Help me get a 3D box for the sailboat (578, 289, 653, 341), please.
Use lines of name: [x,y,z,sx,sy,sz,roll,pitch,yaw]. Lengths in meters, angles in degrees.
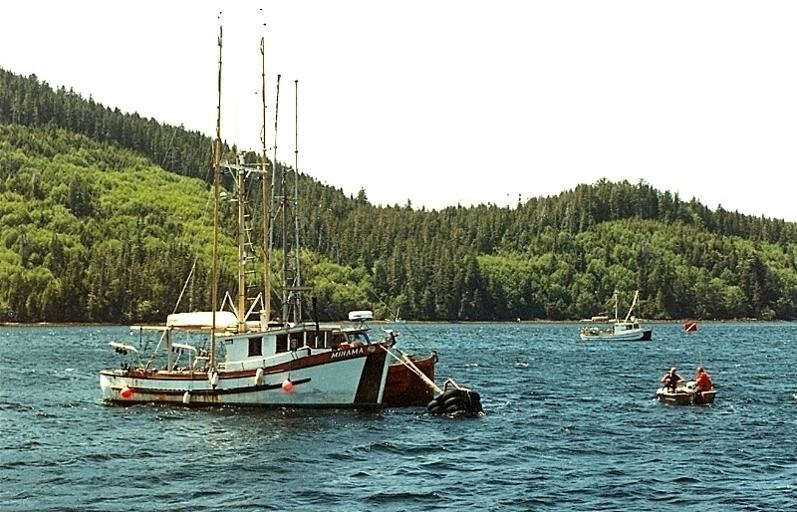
sailboat: [43.021,12.755,213.953,14.774,9.200,4.987,-2,4,23]
